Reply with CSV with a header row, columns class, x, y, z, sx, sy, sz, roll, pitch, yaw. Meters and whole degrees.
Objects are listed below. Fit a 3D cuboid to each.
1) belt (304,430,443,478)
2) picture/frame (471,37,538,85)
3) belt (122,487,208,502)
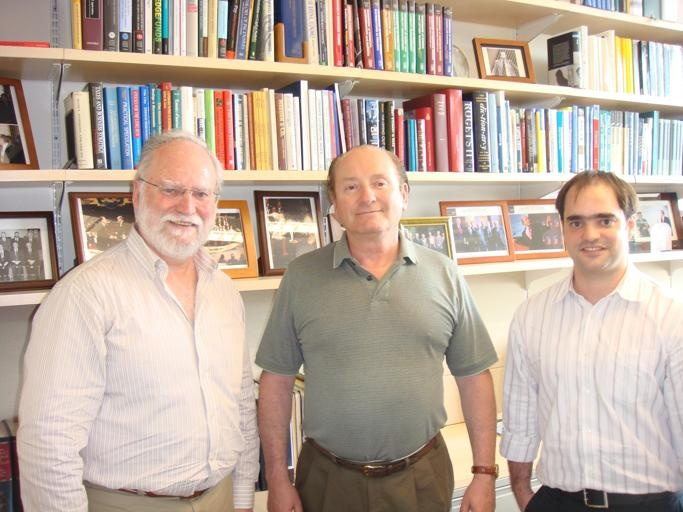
class,x,y,z,sx,sy,sz,roll,pitch,yaw
belt,0.083,0.633,1.711,0.401,0.103,0.104,-4,1,4
picture/frame,0.752,-0.918,2.564,0.386,0.259,0.038,1,-15,-28
belt,-0.499,0.656,1.498,0.238,0.017,0.039,11,-27,-31
